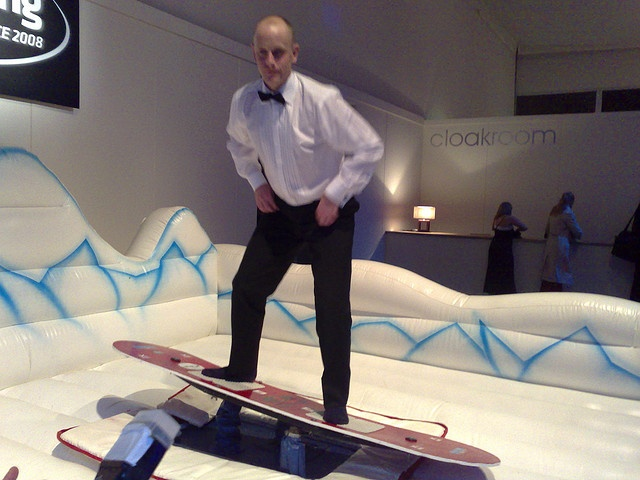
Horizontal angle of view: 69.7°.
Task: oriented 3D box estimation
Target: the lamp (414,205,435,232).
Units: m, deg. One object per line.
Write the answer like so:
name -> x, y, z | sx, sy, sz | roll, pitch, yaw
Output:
lamp -> 1.760, -0.359, 7.903 | 0.302, 0.522, 1.196 | 7, 14, 11

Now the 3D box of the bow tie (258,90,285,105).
bow tie -> -0.211, -0.613, 1.984 | 0.124, 0.052, 0.031 | 11, 14, 22

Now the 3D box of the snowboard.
snowboard -> -0.034, 0.758, 2.109 | 1.263, 0.140, 0.214 | 15, 6, 20

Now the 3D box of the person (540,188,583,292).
person -> 2.869, 0.043, 5.473 | 0.375, 1.198, 0.417 | 11, 14, 27

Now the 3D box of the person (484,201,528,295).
person -> 2.342, 0.125, 5.819 | 0.383, 1.151, 0.451 | 10, 14, 22
